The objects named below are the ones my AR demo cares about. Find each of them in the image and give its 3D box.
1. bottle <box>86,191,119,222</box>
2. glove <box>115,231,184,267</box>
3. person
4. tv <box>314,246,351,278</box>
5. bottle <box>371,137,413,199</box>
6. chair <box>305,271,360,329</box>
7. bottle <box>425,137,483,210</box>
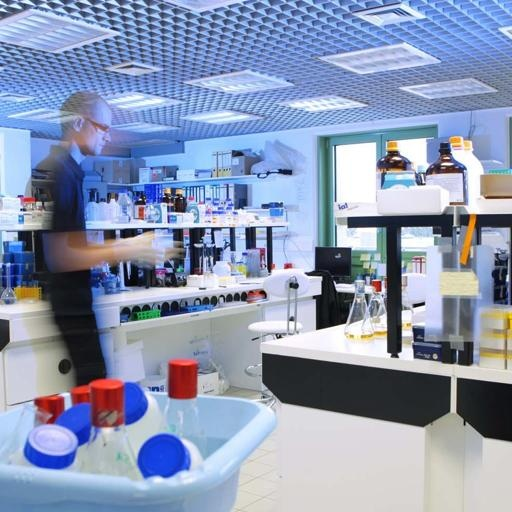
[{"bbox_3d":[-1.302,-0.405,4.047,0.310,0.307,0.174,-1,6,-17],"label":"bottle"},{"bbox_3d":[-0.792,-0.047,3.529,0.381,0.193,0.106,1,45,-16],"label":"glove"},{"bbox_3d":[-0.833,0.043,2.312,0.377,1.462,0.962,-4,4,-24],"label":"person"},{"bbox_3d":[1.140,0.091,7.046,0.429,0.386,0.175,-1,-7,26],"label":"tv"},{"bbox_3d":[0.535,-0.343,1.881,0.137,0.207,0.138,-3,21,1],"label":"bottle"},{"bbox_3d":[1.053,0.355,6.451,0.610,1.030,1.107,0,2,16],"label":"chair"},{"bbox_3d":[0.732,-0.321,1.777,0.180,0.278,0.332,0,4,25],"label":"bottle"}]
